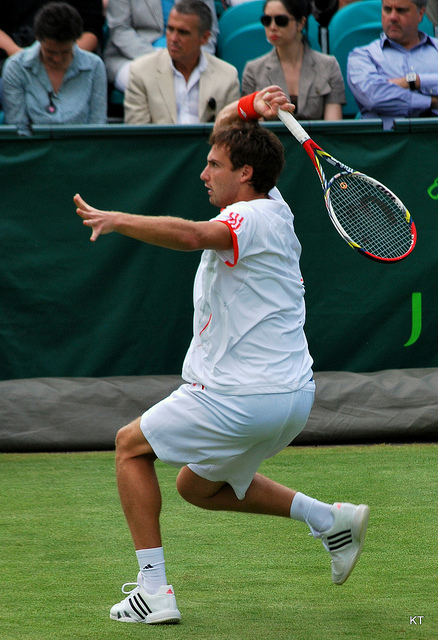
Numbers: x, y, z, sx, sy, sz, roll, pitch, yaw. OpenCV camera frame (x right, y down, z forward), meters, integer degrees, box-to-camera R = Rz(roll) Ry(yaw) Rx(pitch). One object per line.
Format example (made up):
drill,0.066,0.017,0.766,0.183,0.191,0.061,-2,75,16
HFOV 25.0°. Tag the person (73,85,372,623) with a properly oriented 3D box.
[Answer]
person,-0.028,0.264,3.295,0.920,1.590,0.911,-13,28,-8

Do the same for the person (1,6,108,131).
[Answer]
person,-1.029,-1.506,5.966,0.669,0.785,0.482,-12,28,-7

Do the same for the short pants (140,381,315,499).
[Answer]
short pants,0.016,0.361,3.168,0.390,0.400,0.205,-23,60,38

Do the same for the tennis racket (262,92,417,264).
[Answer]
tennis racket,0.557,-0.802,5.198,0.466,0.105,1.369,-21,62,-33
